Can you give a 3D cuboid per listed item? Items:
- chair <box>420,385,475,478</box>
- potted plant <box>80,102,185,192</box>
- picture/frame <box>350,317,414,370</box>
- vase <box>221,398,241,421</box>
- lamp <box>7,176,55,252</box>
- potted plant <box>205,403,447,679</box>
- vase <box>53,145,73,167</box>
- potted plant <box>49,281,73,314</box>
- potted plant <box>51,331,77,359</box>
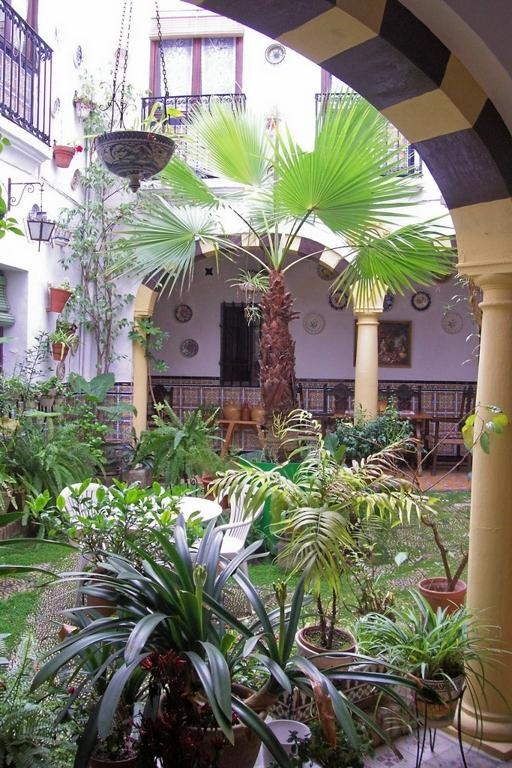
[{"bbox_3d":[3.464,0.810,9.662,0.862,1.401,0.896,1,1,-4],"label":"chair"},{"bbox_3d":[-0.744,-1.398,3.290,0.419,0.384,0.400,2,1,-37],"label":"potted plant"},{"bbox_3d":[2.187,-0.705,9.146,1.000,0.955,0.109,1,1,-4],"label":"picture/frame"},{"bbox_3d":[-0.405,0.453,9.039,0.287,0.357,0.291,1,4,-7],"label":"vase"},{"bbox_3d":[-2.552,-2.029,6.104,0.495,0.760,1.055,2,1,-26],"label":"lamp"},{"bbox_3d":[0.271,0.685,2.456,0.849,1.036,1.042,-18,-4,-25],"label":"potted plant"},{"bbox_3d":[-2.395,-2.840,6.777,0.255,0.211,0.258,2,-1,-7],"label":"vase"},{"bbox_3d":[-2.469,-1.093,6.826,0.332,0.253,0.306,1,-4,-9],"label":"potted plant"},{"bbox_3d":[-2.490,-0.517,7.000,0.292,0.415,0.597,2,1,-21],"label":"potted plant"}]
